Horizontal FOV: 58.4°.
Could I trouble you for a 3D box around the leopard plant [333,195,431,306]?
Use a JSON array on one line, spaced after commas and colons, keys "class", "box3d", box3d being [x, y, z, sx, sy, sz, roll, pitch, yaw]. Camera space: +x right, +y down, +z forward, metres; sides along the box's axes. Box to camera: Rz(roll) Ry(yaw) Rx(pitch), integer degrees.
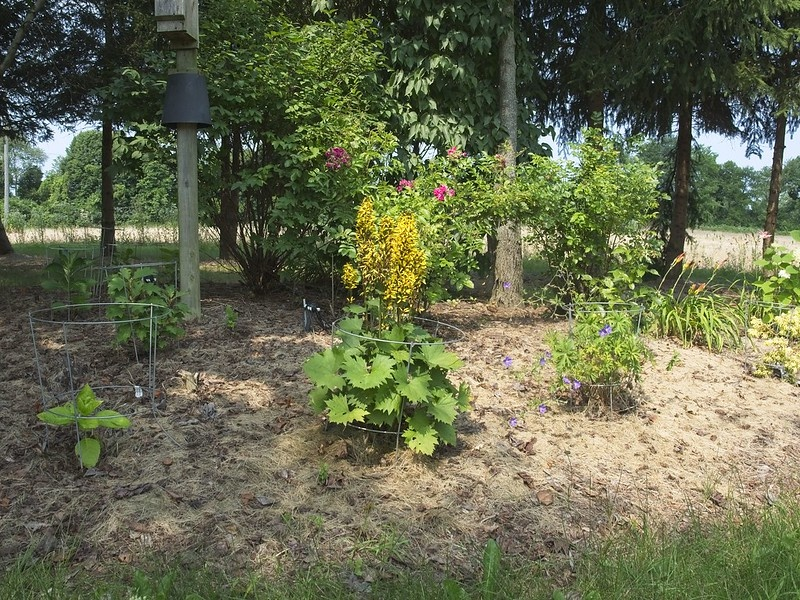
[{"class": "leopard plant", "box3d": [-0.144, -0.392, 5.866, 0.608, 0.900, 1.321, 1, 9, -4]}]
